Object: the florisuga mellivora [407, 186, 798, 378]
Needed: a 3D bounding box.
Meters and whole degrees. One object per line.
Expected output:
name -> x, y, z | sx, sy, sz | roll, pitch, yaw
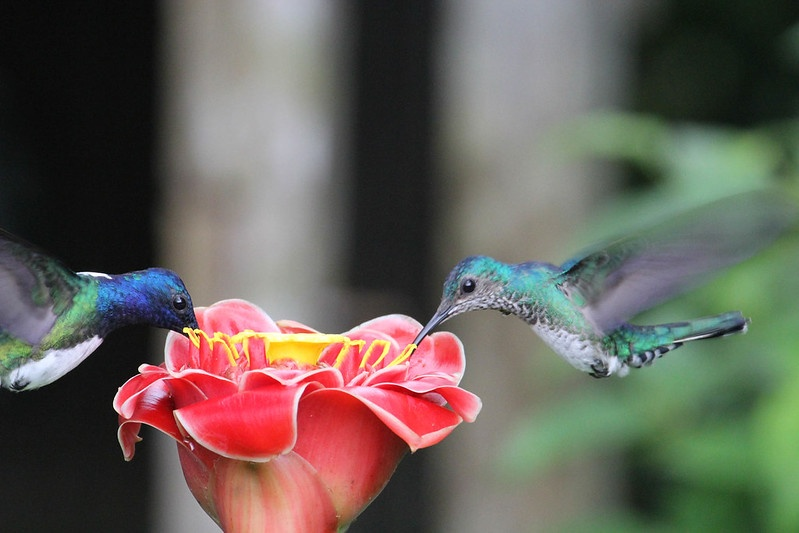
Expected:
florisuga mellivora -> 0.363, 0.032, 1.791 | 0.607, 0.256, 0.320 | -4, -4, 4
